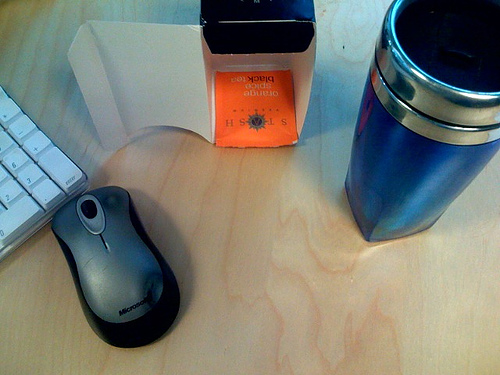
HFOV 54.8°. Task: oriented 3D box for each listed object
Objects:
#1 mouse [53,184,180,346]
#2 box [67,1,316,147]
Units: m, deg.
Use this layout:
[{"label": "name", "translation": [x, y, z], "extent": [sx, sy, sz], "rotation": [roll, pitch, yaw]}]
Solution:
[{"label": "mouse", "translation": [-0.165, 0.087, 0.572], "extent": [0.109, 0.057, 0.203], "rotation": [-19, 65, -31]}, {"label": "box", "translation": [-0.069, -0.141, 0.623], "extent": [0.277, 0.205, 0.130], "rotation": [-2, 9, -1]}]
